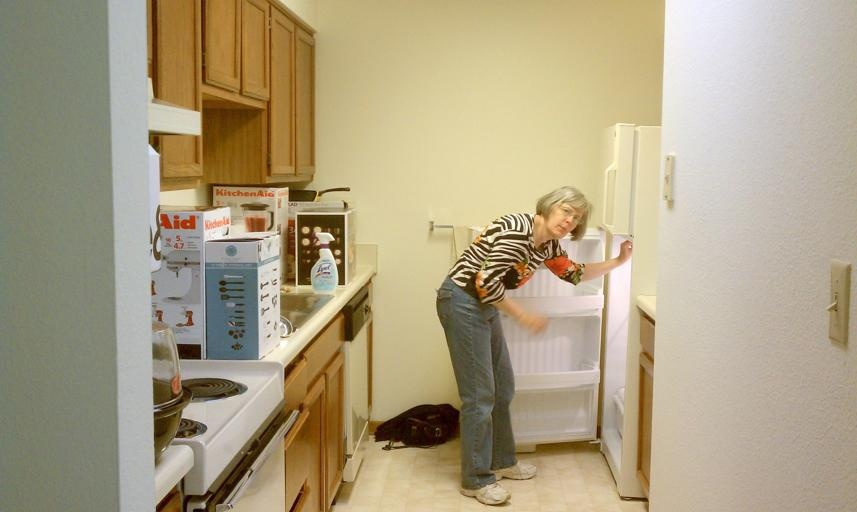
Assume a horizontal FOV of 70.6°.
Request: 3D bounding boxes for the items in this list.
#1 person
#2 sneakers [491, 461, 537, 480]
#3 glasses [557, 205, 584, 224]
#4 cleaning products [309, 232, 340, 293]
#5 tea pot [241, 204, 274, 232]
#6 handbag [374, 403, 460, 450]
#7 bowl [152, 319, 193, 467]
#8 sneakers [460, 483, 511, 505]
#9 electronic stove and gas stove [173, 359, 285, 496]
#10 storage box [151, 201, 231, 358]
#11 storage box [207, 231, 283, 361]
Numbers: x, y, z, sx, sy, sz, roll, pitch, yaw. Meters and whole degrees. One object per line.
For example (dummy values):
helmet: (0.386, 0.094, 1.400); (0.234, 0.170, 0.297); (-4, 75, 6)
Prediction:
person: (0.492, 0.467, 3.197); (0.813, 1.636, 0.421); (-4, 5, -23)
sneakers: (0.499, 1.216, 3.404); (0.194, 0.087, 0.102); (-3, 1, -7)
glasses: (0.719, -0.198, 3.046); (0.095, 0.059, 0.123); (9, -8, -9)
cleaning products: (-0.549, 0.035, 3.096); (0.141, 0.304, 0.110); (-2, 5, 0)
tea pot: (-0.907, -0.207, 3.187); (0.171, 0.143, 0.167); (-2, 4, 0)
handbag: (-0.057, 1.062, 3.838); (0.380, 0.160, 0.268); (0, -9, -18)
bowl: (-0.625, 0.323, 1.468); (0.084, 0.311, 0.267); (-4, 5, -23)
sneakers: (0.294, 1.241, 3.170); (0.192, 0.081, 0.112); (-2, -1, 16)
electronic stove and gas stove: (-0.577, 0.506, 1.726); (0.235, 0.112, 0.429); (1, 7, 2)
storage box: (-0.837, 0.088, 2.138); (0.218, 0.516, 0.299); (-2, 5, -7)
storage box: (-0.640, 0.141, 2.075); (0.186, 0.406, 0.436); (0, 2, -1)
